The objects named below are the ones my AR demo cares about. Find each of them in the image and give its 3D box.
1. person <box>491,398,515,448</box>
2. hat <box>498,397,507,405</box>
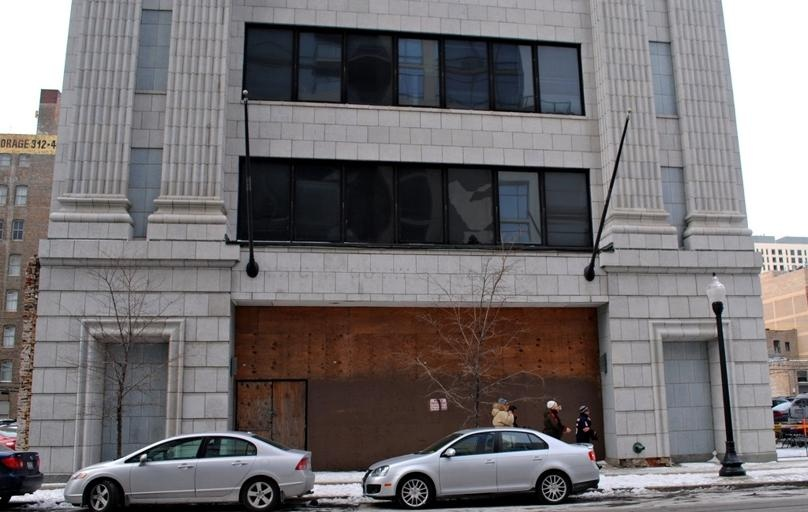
[{"bbox_3d":[3.926,6.164,36.161,0.958,1.292,1.326,-2,-13,-13],"label":"person"},{"bbox_3d":[3.915,5.691,37.186,0.289,0.282,0.530,-2,-9,0],"label":"hat"}]
